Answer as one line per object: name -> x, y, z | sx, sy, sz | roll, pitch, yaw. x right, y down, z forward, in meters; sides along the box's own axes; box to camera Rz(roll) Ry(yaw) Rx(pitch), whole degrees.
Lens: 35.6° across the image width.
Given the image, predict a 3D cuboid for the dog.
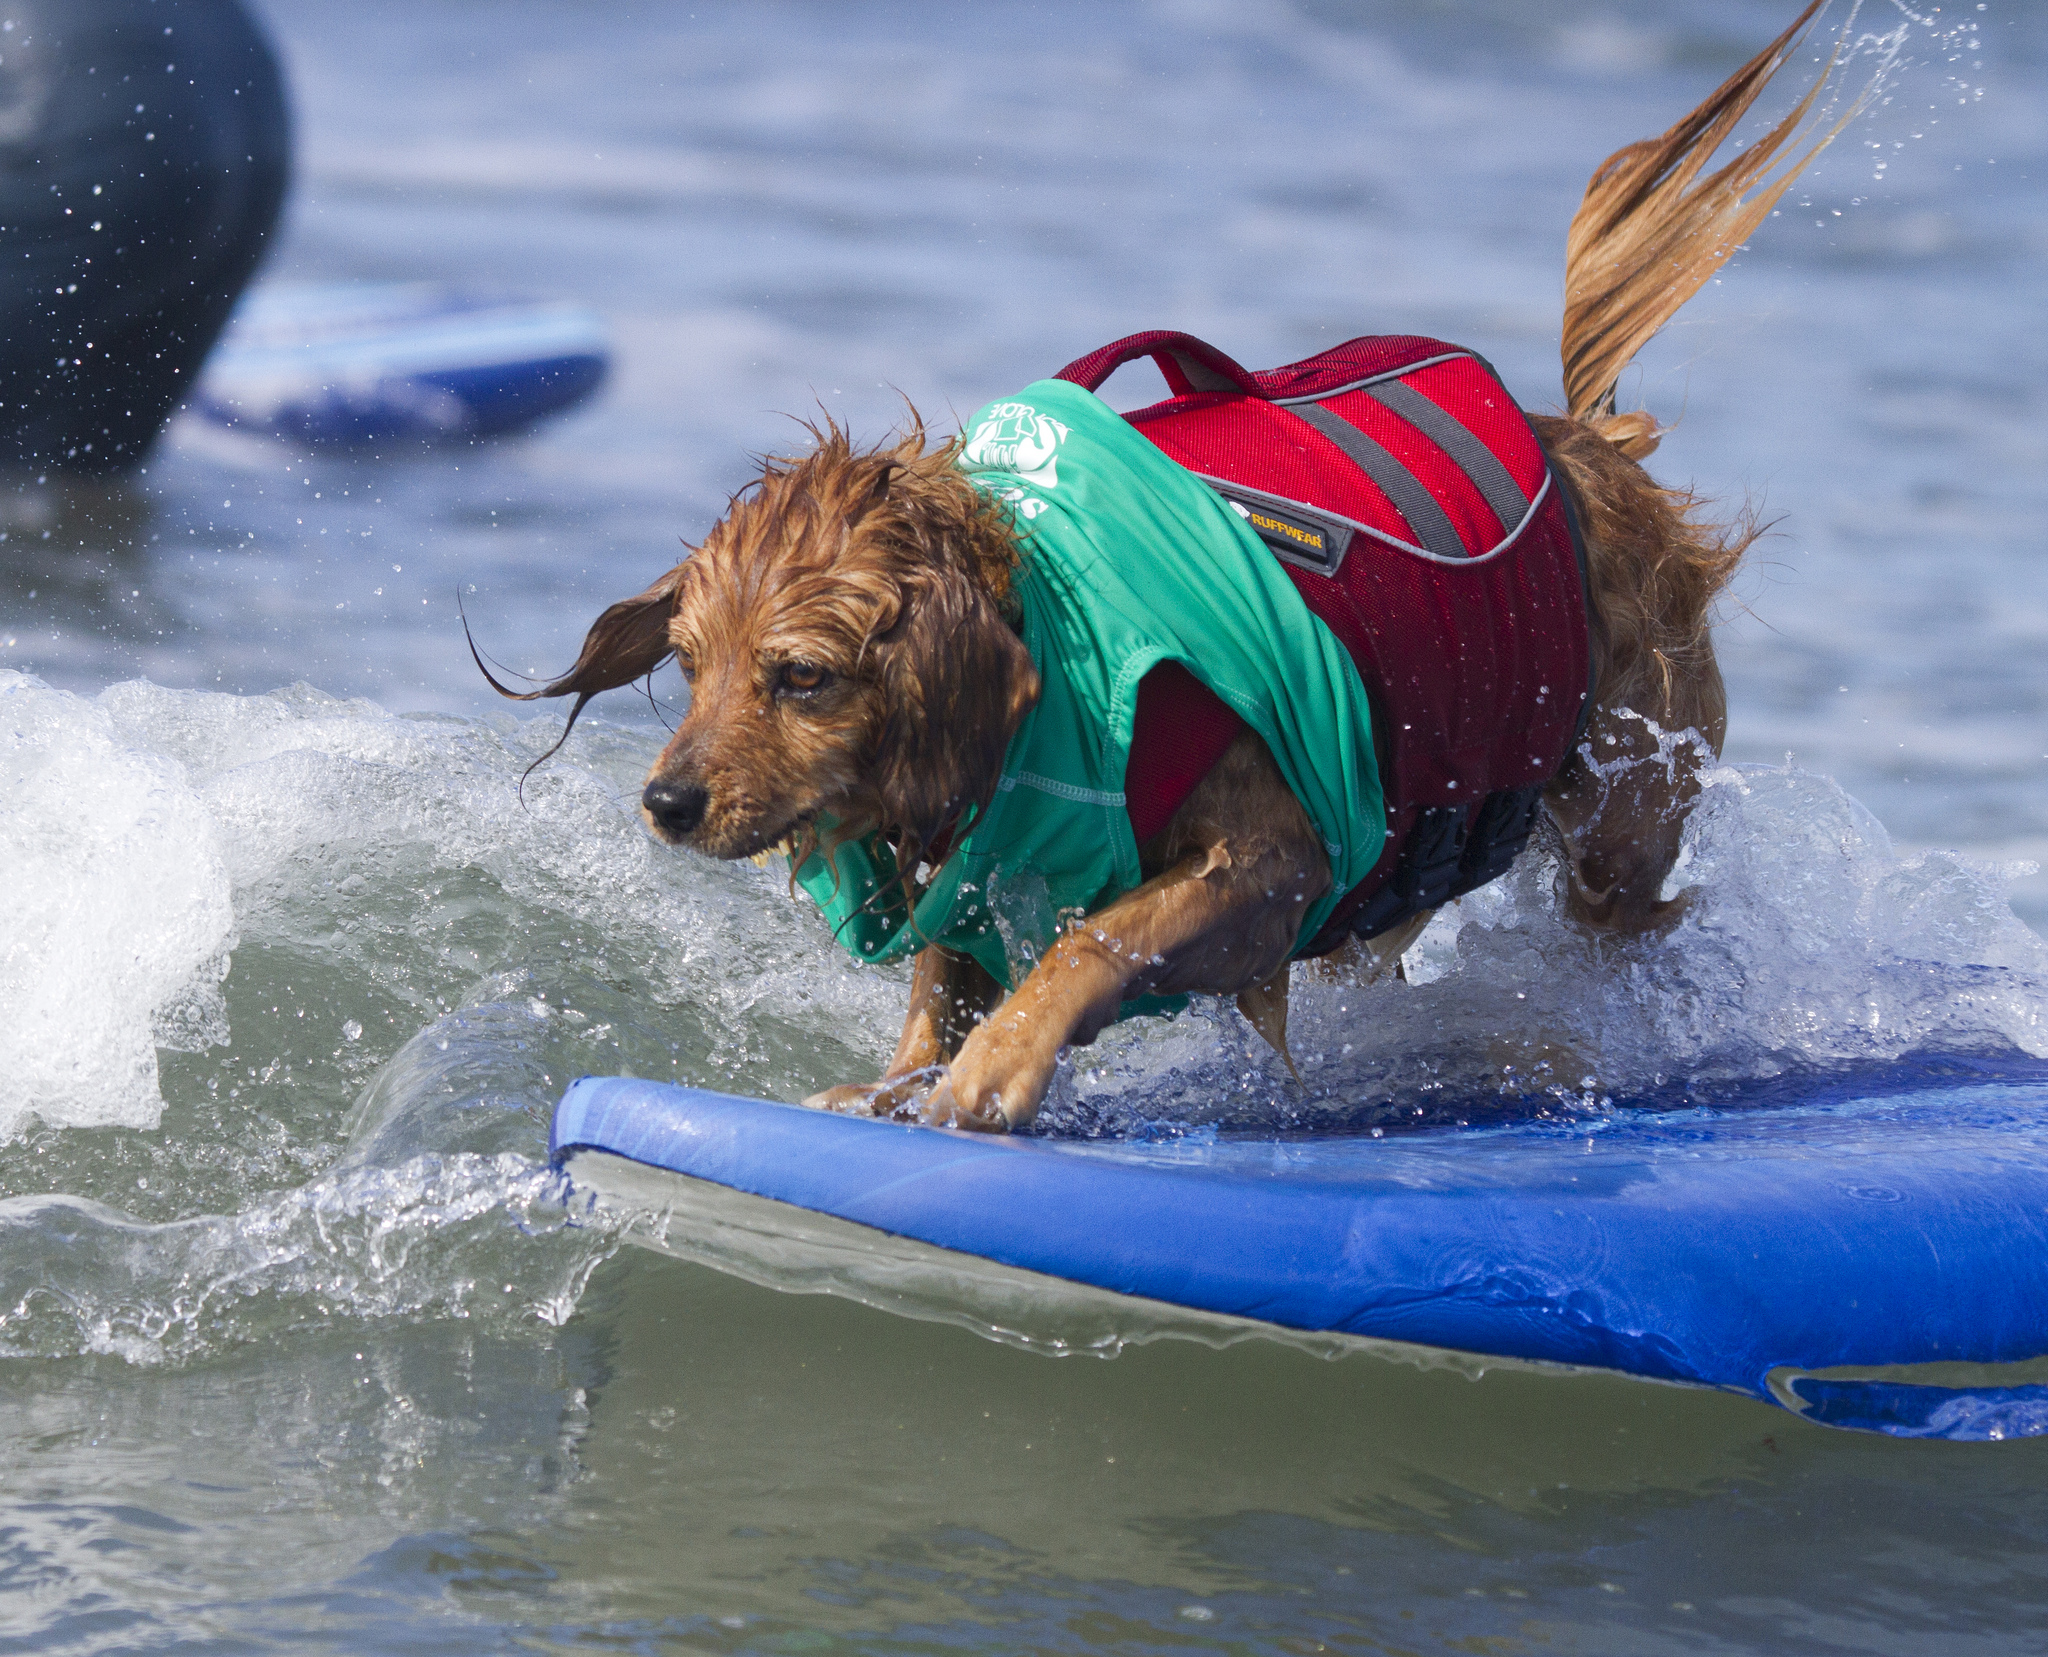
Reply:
dog -> 0.538, -0.675, 6.136 | 3.473, 1.722, 1.184 | -21, 30, -29
